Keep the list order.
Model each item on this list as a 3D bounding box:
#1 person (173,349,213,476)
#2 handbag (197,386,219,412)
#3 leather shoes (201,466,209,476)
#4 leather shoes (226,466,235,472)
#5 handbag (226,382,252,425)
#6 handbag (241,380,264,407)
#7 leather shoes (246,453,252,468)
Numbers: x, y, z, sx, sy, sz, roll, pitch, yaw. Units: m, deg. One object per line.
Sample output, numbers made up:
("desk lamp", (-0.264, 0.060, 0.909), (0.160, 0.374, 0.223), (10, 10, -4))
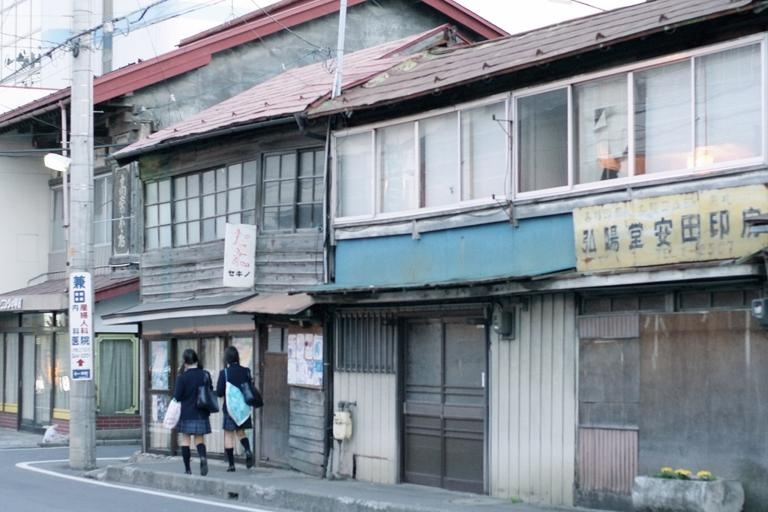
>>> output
("person", (-4.142, 3.413, 29.267), (0.807, 2.706, 0.876), (0, -8, -8))
("handbag", (-3.809, 3.108, 29.064), (0.177, 0.410, 0.475), (-20, -32, 31))
("leather shoes", (-3.861, 4.617, 28.990), (0.165, 0.239, 0.483), (0, -8, -6))
("leather shoes", (-3.352, 4.691, 29.602), (0.186, 0.156, 0.103), (-1, 0, 6))
("handbag", (-3.162, 3.222, 29.268), (0.553, 0.933, 0.331), (0, -8, -6))
("handbag", (-2.884, 3.041, 29.461), (0.228, 0.573, 0.627), (-38, -32, 6))
("leather shoes", (-2.948, 4.503, 29.602), (0.201, 0.297, 0.121), (1, 25, -7))
